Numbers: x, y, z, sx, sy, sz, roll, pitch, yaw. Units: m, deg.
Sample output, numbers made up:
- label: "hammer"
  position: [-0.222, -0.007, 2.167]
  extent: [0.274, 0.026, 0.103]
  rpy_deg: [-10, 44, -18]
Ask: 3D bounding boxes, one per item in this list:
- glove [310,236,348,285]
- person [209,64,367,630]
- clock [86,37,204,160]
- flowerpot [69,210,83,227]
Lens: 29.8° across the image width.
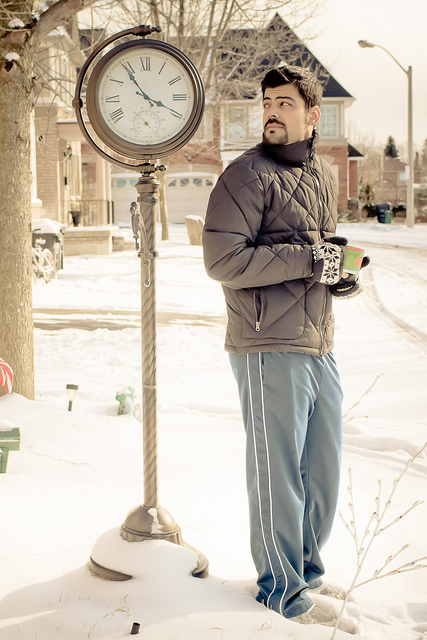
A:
- label: "glove"
  position: [0.451, -0.232, 3.045]
  extent: [0.081, 0.181, 0.145]
  rpy_deg: [4, -20, 34]
- label: "person"
  position: [0.298, 0.076, 3.105]
  extent: [0.579, 2.161, 0.615]
  rpy_deg: [6, 10, 26]
- label: "clock"
  position: [-0.264, -0.879, 3.175]
  extent: [0.459, 0.456, 0.210]
  rpy_deg: [1, 9, -2]
- label: "flowerpot"
  position: [-3.595, -2.770, 21.329]
  extent: [0.462, 0.463, 0.424]
  rpy_deg: [-3, 6, -11]
